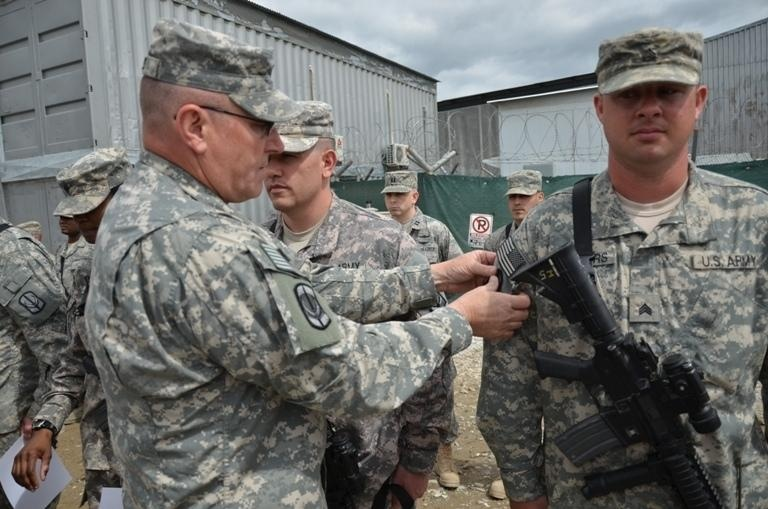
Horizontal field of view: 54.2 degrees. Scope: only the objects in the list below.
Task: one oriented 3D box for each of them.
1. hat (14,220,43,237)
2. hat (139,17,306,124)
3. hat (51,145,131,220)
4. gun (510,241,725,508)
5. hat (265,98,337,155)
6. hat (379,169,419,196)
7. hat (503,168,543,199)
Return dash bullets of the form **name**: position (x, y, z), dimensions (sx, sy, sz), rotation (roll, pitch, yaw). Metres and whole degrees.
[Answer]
- **hat**: position (-3.590, -0.256, 7.631), dimensions (0.266, 0.214, 0.218), rotation (8, 4, -1)
- **hat**: position (-0.770, -0.877, 3.683), dimensions (0.693, 0.303, 0.436), rotation (17, 17, -7)
- **hat**: position (-2.069, -0.508, 5.452), dimensions (0.416, 0.261, 0.658), rotation (-7, 31, 36)
- **gun**: position (1.258, 0.617, 3.909), dimensions (0.695, 1.469, 0.213), rotation (-24, -4, 14)
- **hat**: position (-0.479, -0.773, 4.645), dimensions (0.317, 0.226, 0.419), rotation (0, 1, 30)
- **hat**: position (0.147, -0.805, 8.534), dimensions (0.270, 0.191, 0.359), rotation (-1, -1, 29)
- **hat**: position (1.573, -0.776, 8.286), dimensions (0.268, 0.189, 0.360), rotation (-3, 6, 42)
